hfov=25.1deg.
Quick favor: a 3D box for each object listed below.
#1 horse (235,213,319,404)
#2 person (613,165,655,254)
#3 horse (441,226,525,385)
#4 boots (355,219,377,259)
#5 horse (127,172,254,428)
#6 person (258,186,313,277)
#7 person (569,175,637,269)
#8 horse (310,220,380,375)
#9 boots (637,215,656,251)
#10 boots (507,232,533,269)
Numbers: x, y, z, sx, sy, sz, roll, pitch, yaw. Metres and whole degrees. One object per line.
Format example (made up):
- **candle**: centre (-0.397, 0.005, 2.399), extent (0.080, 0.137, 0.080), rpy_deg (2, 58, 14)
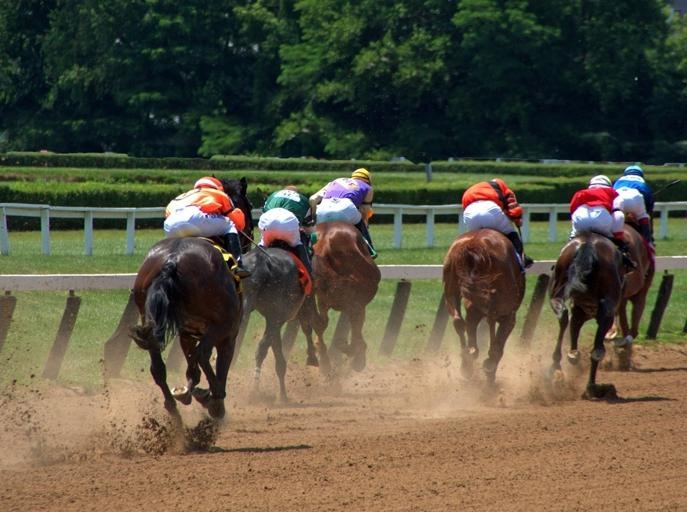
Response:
- **horse**: centre (-1.672, 1.057, 36.804), extent (1.830, 4.279, 2.520), rpy_deg (-2, 11, -14)
- **person**: centre (7.210, -1.329, 38.142), extent (0.815, 2.461, 0.805), rpy_deg (4, 10, 16)
- **horse**: centre (3.832, 0.513, 38.291), extent (1.237, 3.877, 5.435), rpy_deg (1, 5, 17)
- **boots**: centre (0.529, -0.363, 38.354), extent (0.210, 1.058, 0.555), rpy_deg (-21, -3, 4)
- **horse**: centre (-3.332, 1.266, 36.912), extent (2.008, 4.855, 6.973), rpy_deg (3, 6, 14)
- **person**: centre (-1.429, -0.702, 36.546), extent (1.010, 2.289, 1.057), rpy_deg (-3, 9, -25)
- **person**: centre (6.185, -1.003, 36.769), extent (1.151, 2.445, 1.117), rpy_deg (-9, 11, -42)
- **horse**: centre (0.035, 0.896, 37.296), extent (1.509, 3.265, 1.948), rpy_deg (-1, 8, -9)
- **boots**: centre (7.422, -0.539, 38.014), extent (0.183, 0.873, 0.460), rpy_deg (-10, 4, 14)
- **boots**: centre (4.308, -0.086, 37.973), extent (0.189, 0.853, 0.451), rpy_deg (-25, 5, 12)
